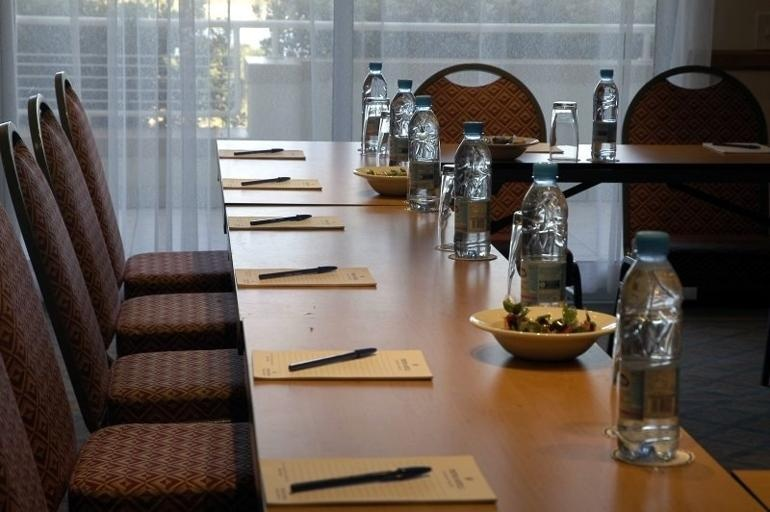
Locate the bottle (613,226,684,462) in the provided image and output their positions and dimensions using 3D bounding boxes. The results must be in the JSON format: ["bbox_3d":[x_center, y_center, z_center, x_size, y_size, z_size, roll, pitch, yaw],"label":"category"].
[{"bbox_3d":[0.316,0.108,0.707,0.081,0.274,0.070,2,14,16],"label":"bottle"}]

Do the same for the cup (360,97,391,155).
[{"bbox_3d":[-0.079,-0.734,3.373,0.213,0.305,0.212,0,12,0],"label":"cup"}]

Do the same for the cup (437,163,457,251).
[{"bbox_3d":[0.173,-0.140,1.774,0.059,0.256,0.052,-1,10,6],"label":"cup"}]
